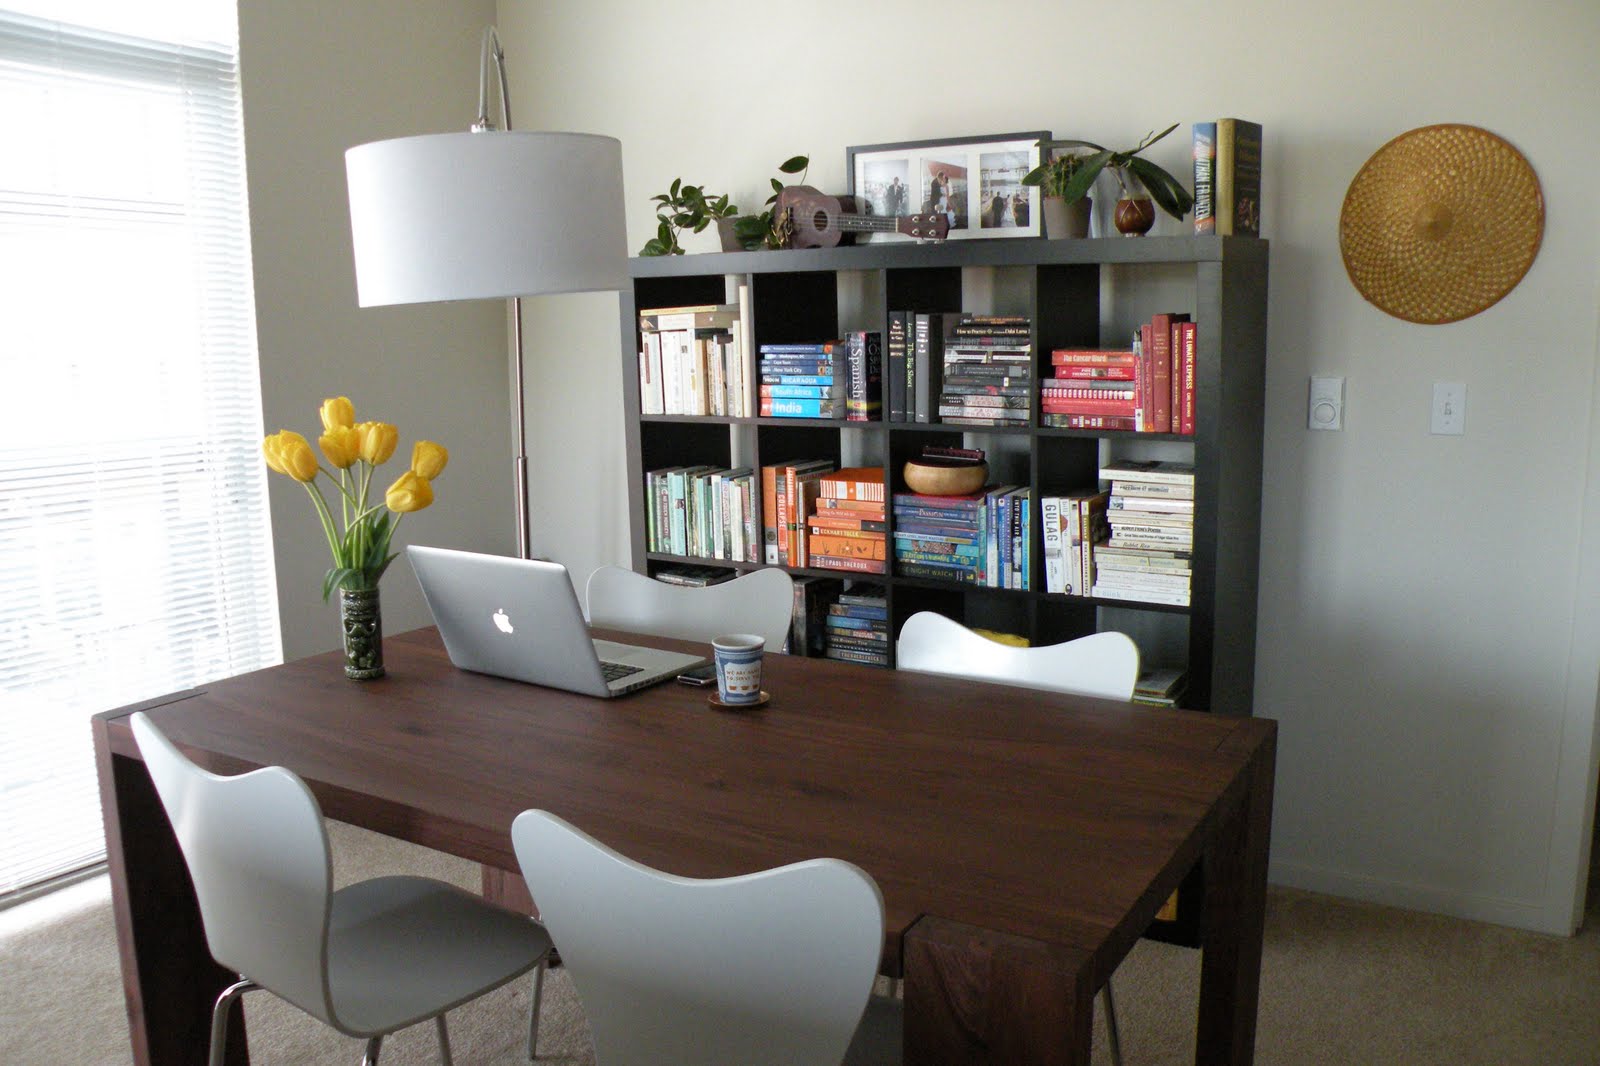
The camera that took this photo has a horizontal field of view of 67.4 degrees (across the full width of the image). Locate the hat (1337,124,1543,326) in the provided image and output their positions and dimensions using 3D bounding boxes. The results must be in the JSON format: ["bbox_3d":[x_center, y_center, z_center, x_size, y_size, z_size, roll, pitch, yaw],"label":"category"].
[{"bbox_3d":[1.882,-0.867,3.556,0.508,0.524,0.519,6,10,35],"label":"hat"}]

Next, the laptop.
[{"bbox_3d":[-0.626,0.205,2.908,0.488,0.307,0.445,5,9,32],"label":"laptop"}]

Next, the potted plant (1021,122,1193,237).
[{"bbox_3d":[0.911,-1.048,3.559,0.481,0.326,0.369,2,13,13],"label":"potted plant"}]

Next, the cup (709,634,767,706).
[{"bbox_3d":[-0.137,0.312,2.822,0.139,0.153,0.140,-2,11,0],"label":"cup"}]

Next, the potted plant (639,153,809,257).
[{"bbox_3d":[-0.318,-1.122,4.229,0.235,0.243,0.572,-15,3,40],"label":"potted plant"}]

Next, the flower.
[{"bbox_3d":[-1.106,-0.022,2.965,0.398,0.504,0.401,13,8,39],"label":"flower"}]

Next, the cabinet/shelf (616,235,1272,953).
[{"bbox_3d":[0.447,0.111,3.097,1.967,1.887,0.488,6,12,39],"label":"cabinet/shelf"}]
